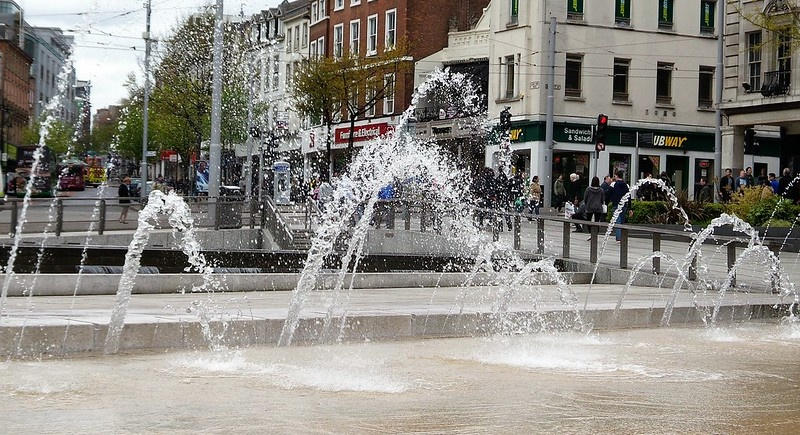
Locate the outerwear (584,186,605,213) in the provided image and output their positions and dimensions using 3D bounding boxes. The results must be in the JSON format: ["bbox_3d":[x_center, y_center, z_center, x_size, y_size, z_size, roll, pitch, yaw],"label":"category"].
[{"bbox_3d":[8.002,-0.749,39.640,1.191,1.429,0.964,0,0,5],"label":"outerwear"}]

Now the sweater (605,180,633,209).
[{"bbox_3d":[8.782,-0.903,38.724,1.296,1.416,0.633,2,32,11],"label":"sweater"}]
